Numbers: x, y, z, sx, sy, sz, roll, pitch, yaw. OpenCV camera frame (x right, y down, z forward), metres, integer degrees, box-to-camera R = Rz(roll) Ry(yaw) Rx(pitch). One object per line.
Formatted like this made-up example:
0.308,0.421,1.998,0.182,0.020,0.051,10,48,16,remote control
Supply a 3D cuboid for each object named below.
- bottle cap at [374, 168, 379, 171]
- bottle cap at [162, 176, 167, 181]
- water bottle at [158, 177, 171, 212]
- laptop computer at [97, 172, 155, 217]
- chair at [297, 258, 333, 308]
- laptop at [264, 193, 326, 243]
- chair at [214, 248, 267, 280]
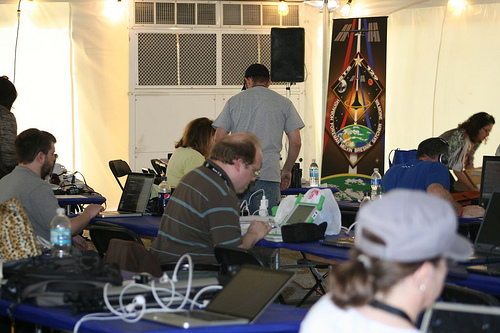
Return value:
1.522,0.038,5.708,0.048,0.072,0.050,2,5,8,bottle cap
-0.749,0.108,4.134,0.033,0.034,0.034,0,-1,-6,bottle cap
-0.754,0.235,4.149,0.101,0.307,0.175,-2,9,-14,water bottle
-1.132,0.257,4.178,0.521,0.368,0.549,0,4,30,laptop computer
0.551,0.901,3.699,0.210,0.261,0.153,3,5,20,chair
0.341,0.369,3.120,0.244,0.435,0.151,5,15,-23,laptop
-0.056,0.489,2.365,0.115,0.151,0.204,4,-21,27,chair
